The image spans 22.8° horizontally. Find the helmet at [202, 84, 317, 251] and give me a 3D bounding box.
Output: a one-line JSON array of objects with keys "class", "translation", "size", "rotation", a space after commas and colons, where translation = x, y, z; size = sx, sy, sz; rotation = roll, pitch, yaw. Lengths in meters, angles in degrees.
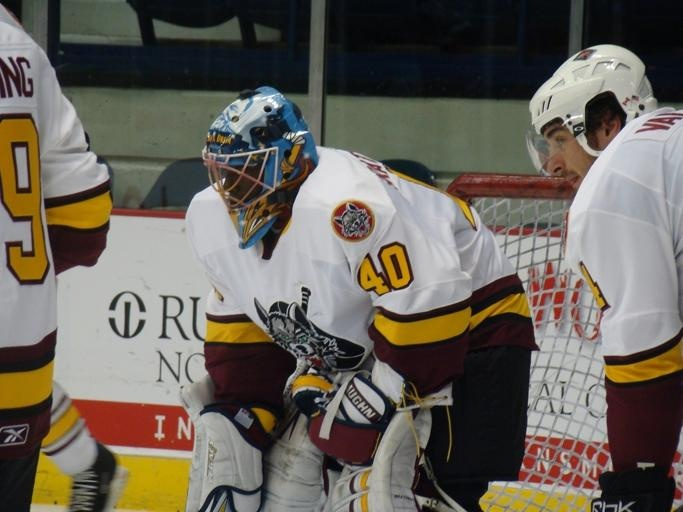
[{"class": "helmet", "translation": [-0.308, -0.339, 6.571], "size": [0.445, 0.619, 0.207], "rotation": [0, 9, -2]}]

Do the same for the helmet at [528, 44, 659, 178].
[{"class": "helmet", "translation": [1.059, -0.600, 6.855], "size": [0.547, 0.552, 0.440], "rotation": [-3, 3, 17]}]
